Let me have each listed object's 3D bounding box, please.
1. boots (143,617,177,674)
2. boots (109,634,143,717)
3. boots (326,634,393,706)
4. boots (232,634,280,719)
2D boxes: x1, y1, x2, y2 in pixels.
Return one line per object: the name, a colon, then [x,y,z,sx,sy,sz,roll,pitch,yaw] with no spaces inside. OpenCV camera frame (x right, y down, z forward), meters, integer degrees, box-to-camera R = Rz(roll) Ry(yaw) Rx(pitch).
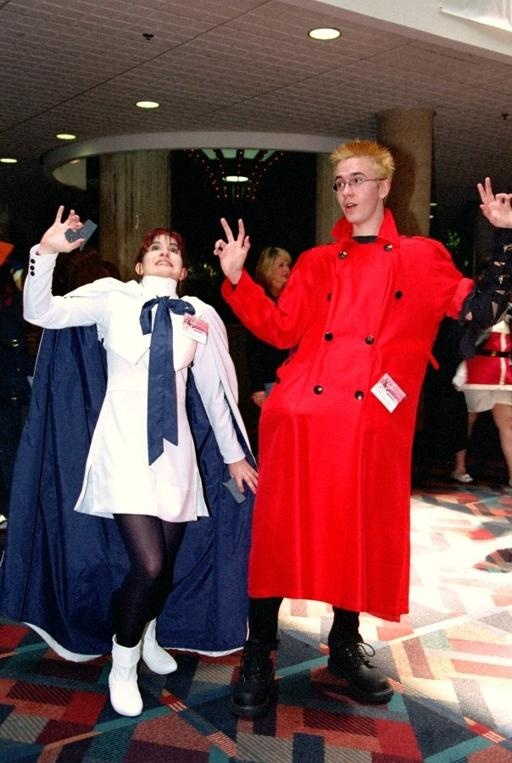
boots: [-0.309,0.824,1.922,0.158,0.144,0.068,10,10,37]
boots: [-0.344,0.796,1.703,0.083,0.139,0.212,1,-2,-9]
boots: [0.297,0.848,1.821,0.087,0.110,0.239,2,-7,-23]
boots: [0.009,0.804,1.649,0.082,0.096,0.236,1,-9,9]
